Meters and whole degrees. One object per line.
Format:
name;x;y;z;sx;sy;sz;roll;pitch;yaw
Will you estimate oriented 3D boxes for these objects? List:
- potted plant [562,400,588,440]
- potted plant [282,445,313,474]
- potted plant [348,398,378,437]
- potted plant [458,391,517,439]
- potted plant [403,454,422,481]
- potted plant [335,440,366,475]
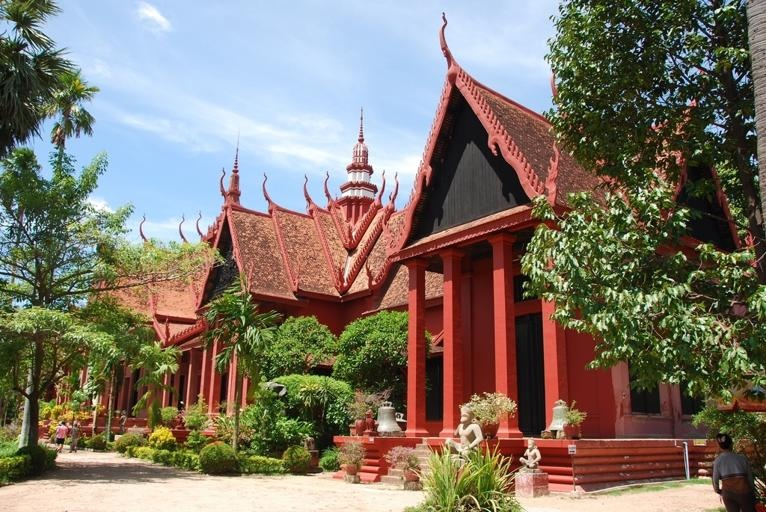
potted plant;4.065;3.489;12.066;0.505;0.707;0.510;10;-13;-20
potted plant;-2.341;5.781;15.962;0.753;0.765;0.755;18;-27;-29
potted plant;-0.658;4.477;15.918;0.977;1.347;1.231;-1;-18;7
potted plant;2.430;3.715;13.127;1.172;1.015;1.167;2;-6;-17
potted plant;0.638;4.816;12.867;0.400;0.559;1.049;-1;-17;4
potted plant;-0.796;5.129;14.385;0.815;0.914;0.758;1;-20;1
